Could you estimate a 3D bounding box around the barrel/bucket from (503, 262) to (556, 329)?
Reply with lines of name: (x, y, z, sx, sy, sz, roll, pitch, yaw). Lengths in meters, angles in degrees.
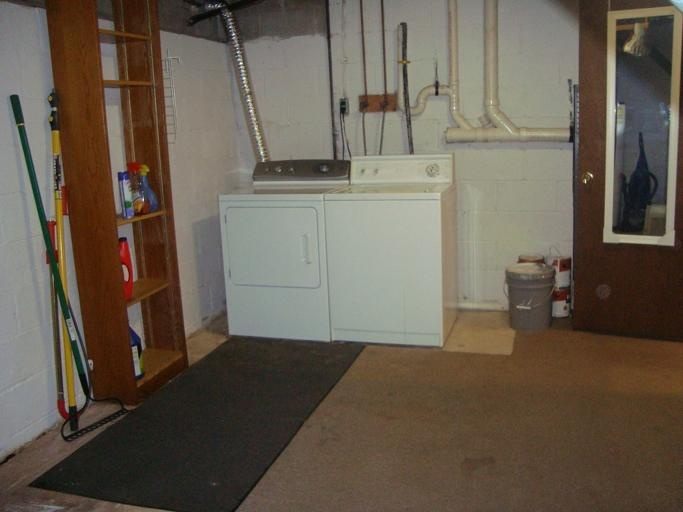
barrel/bucket: (1.366, 0.288, 4.341, 0.426, 0.502, 0.426, -5, 10, 1)

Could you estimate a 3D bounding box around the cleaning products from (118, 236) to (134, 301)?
cleaning products: (-1.332, 0.080, 3.495, 0.094, 0.370, 0.102, 1, 6, 18)

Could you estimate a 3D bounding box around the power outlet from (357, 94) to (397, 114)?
power outlet: (0.294, -1.241, 4.599, 0.259, 0.149, 0.057, -1, 4, 13)
